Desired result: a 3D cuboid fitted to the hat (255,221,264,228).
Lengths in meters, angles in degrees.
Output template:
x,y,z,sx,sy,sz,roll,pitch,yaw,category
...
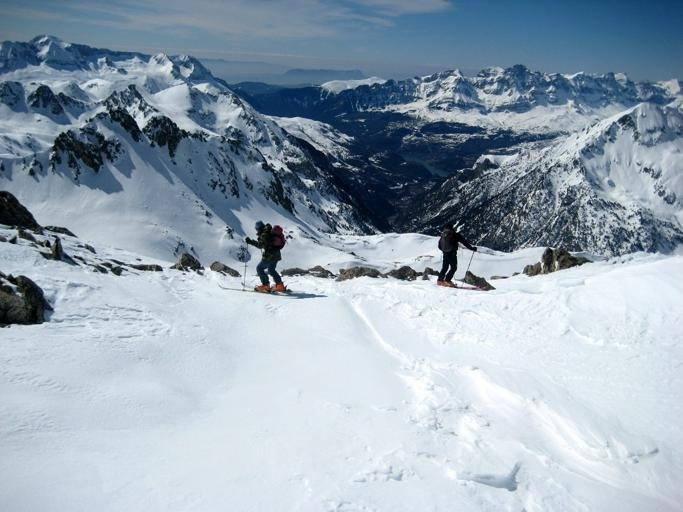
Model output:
x,y,z,sx,sy,sz,roll,pitch,yaw,category
-3.311,-1.222,23.566,0.266,0.250,0.346,21,40,28,hat
